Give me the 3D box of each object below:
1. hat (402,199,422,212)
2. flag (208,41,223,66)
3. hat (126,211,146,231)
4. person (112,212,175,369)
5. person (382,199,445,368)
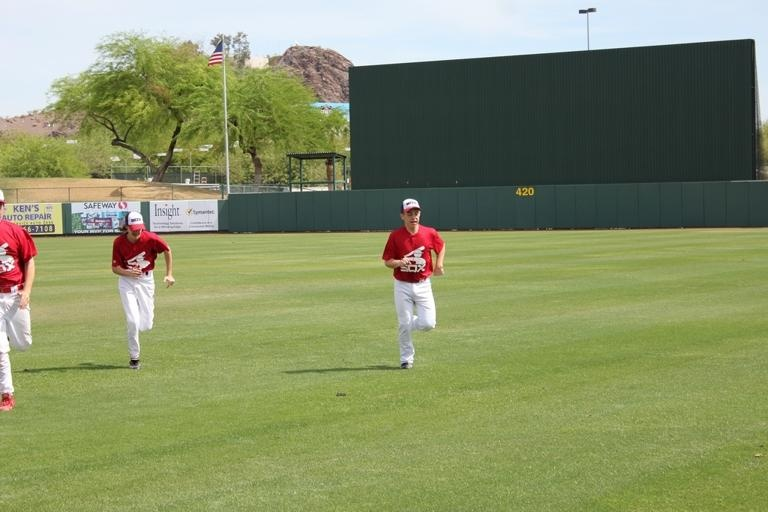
[{"bbox_3d":[0.375,-0.724,12.128,0.211,0.165,0.295,-2,6,-2],"label":"hat"},{"bbox_3d":[-10.762,-13.079,53.978,0.897,1.967,4.033,-3,6,-9],"label":"flag"},{"bbox_3d":[-3.746,-0.540,12.614,0.244,0.188,0.350,-9,23,-31],"label":"hat"},{"bbox_3d":[-3.661,0.497,12.761,0.797,2.340,0.501,-4,6,-18],"label":"person"},{"bbox_3d":[0.455,0.403,12.465,0.858,2.480,0.812,-2,6,4],"label":"person"}]
